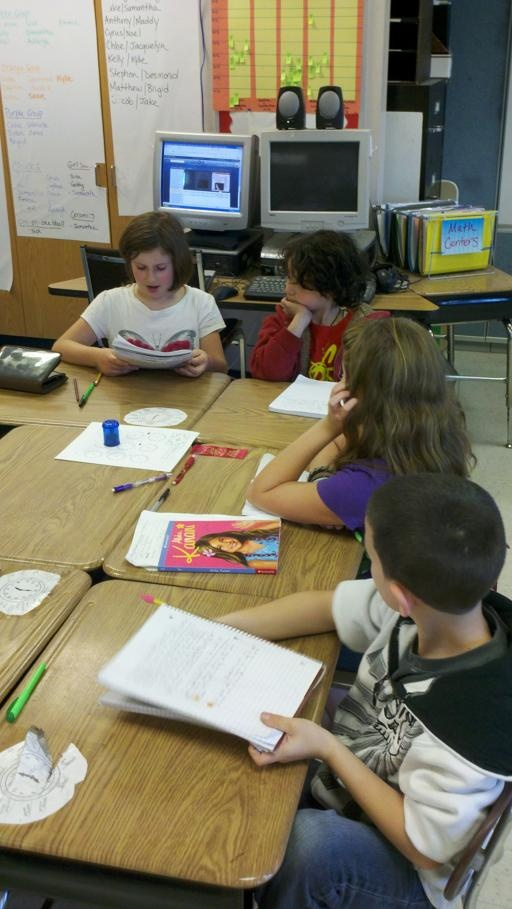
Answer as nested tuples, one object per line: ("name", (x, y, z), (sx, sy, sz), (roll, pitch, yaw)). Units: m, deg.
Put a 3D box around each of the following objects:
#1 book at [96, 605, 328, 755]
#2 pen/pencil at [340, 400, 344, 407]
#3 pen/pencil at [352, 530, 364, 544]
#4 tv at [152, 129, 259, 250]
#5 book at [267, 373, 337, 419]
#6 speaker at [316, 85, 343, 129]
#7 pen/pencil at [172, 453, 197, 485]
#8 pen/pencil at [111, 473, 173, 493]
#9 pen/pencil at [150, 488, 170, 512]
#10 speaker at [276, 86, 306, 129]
("book", (-0.059, 0.284, 0.800), (0.154, 0.047, 0.156), (19, 36, 15))
("pen/pencil", (0.174, -0.104, 1.276), (0.003, 0.013, 0.012), (2, 4, -21))
("pen/pencil", (0.195, 0.158, 1.210), (0.006, 0.023, 0.021), (-18, 17, -38))
("tv", (-0.190, -1.378, 3.331), (0.669, 0.633, 0.444), (9, 30, 12))
("book", (0.141, -0.165, 1.893), (0.131, 0.022, 0.158), (10, 35, 15))
("speaker", (0.334, -1.608, 2.916), (0.122, 0.189, 0.118), (2, 23, 12))
("pen/pencil", (-0.174, 0.034, 1.465), (0.020, 0.015, 0.099), (6, 29, 8))
("pen/pencil", (-0.254, 0.067, 1.403), (0.111, 0.014, 0.013), (-14, -4, -39))
("pen/pencil", (-0.200, 0.100, 1.327), (0.014, 0.019, 0.077), (5, 36, 13))
("speaker", (0.159, -1.633, 2.967), (0.135, 0.186, 0.163), (-3, 23, 2))
